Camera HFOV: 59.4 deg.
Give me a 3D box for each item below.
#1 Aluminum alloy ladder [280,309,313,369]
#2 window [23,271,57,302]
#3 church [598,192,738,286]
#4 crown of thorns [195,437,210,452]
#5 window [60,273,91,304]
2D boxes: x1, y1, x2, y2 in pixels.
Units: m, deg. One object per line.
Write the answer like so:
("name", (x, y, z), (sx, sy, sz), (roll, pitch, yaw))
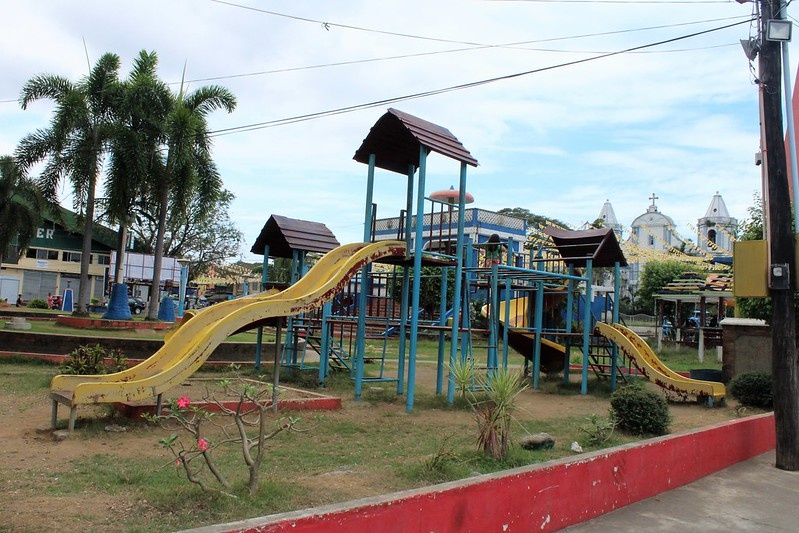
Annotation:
("Aluminum alloy ladder", (-2.972, 2.369, 21.174), (0.922, 1.480, 0.932), (16, 13, 36))
("window", (-25.552, 1.320, 49.523), (0.115, 2.221, 2.319), (2, 2, 41))
("church", (23.654, -1.637, 60.502), (13.051, 7.749, 12.935), (0, -1, 14))
("crown of thorns", (-2.805, 2.541, 9.960), (0.146, 0.172, 0.413), (4, -7, -16))
("window", (-19.439, 1.254, 41.783), (2.143, 1.942, 1.126), (3, -6, -41))
